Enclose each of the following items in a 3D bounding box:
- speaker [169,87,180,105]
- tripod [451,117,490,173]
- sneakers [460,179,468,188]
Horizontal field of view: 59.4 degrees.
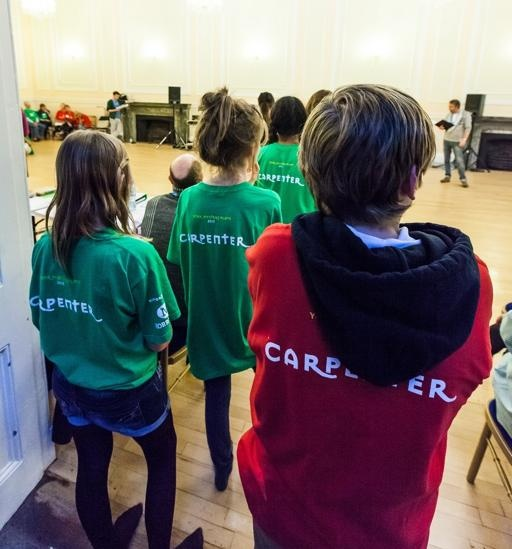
[{"bbox_3d":[-1.977,-4.294,10.758,0.256,0.452,0.211,-2,24,-5],"label":"speaker"},{"bbox_3d":[4.214,-2.571,8.945,0.488,0.972,0.578,5,-1,-2],"label":"tripod"},{"bbox_3d":[3.456,-1.520,7.408,0.084,0.125,0.288,-1,29,13],"label":"sneakers"}]
